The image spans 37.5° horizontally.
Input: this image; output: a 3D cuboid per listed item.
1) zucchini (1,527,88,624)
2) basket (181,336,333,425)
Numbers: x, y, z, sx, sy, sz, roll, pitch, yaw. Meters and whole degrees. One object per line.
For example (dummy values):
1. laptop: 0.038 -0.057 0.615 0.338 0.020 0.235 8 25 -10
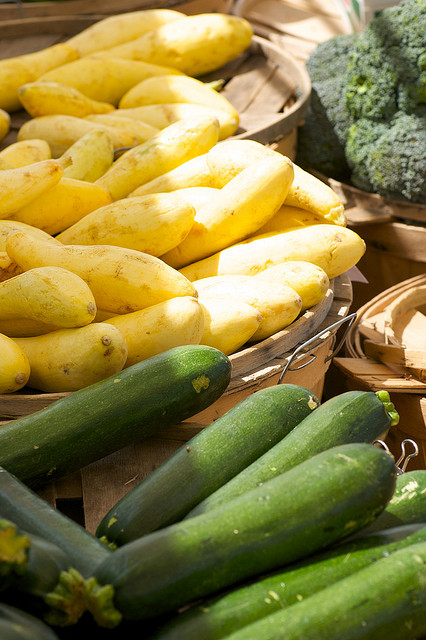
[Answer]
1. zucchini: -0.147 0.236 0.605 0.056 0.118 0.042 -54 16 -8
2. basket: 0.041 0.103 1.389 0.305 0.166 0.291 -15 22 -41
